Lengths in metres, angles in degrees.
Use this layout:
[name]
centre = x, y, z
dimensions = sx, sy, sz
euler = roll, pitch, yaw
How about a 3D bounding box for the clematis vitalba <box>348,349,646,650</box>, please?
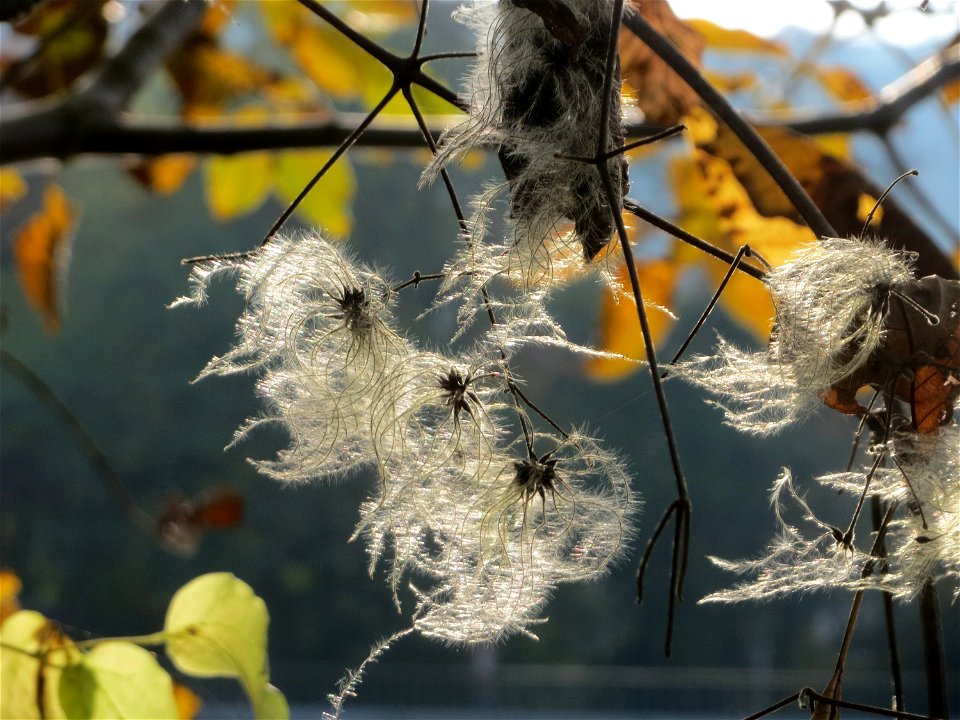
[clematis vitalba]
centre = 0.020, 0.137, 1.500
dimensions = 0.209, 0.230, 0.071
euler = -26, -15, -8
